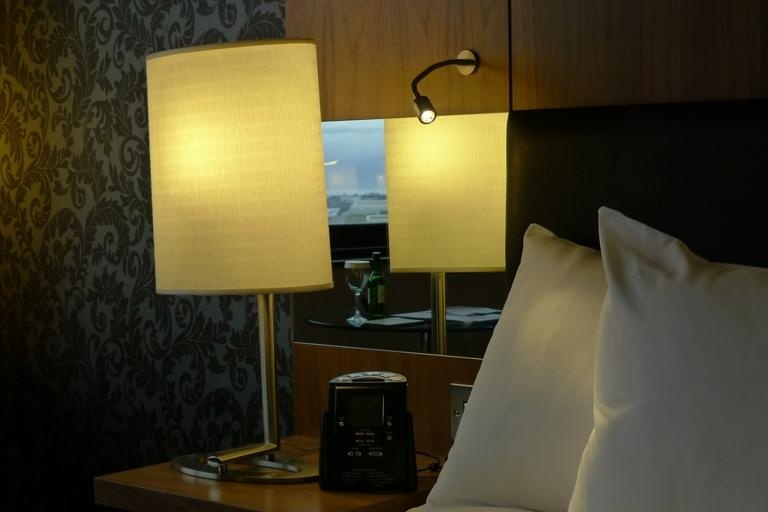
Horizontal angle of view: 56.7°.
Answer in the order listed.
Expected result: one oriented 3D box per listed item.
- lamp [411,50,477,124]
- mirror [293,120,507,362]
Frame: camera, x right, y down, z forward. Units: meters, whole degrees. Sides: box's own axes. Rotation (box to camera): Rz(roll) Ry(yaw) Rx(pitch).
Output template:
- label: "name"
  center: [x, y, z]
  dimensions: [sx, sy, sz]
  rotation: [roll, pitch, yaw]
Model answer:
- label: "lamp"
  center: [0.180, -0.513, 2.129]
  dimensions: [0.155, 0.133, 0.256]
  rotation: [-7, -34, -4]
- label: "mirror"
  center: [0.040, -0.044, 2.317]
  dimensions: [0.535, 0.777, 0.619]
  rotation: [0, 1, -3]
